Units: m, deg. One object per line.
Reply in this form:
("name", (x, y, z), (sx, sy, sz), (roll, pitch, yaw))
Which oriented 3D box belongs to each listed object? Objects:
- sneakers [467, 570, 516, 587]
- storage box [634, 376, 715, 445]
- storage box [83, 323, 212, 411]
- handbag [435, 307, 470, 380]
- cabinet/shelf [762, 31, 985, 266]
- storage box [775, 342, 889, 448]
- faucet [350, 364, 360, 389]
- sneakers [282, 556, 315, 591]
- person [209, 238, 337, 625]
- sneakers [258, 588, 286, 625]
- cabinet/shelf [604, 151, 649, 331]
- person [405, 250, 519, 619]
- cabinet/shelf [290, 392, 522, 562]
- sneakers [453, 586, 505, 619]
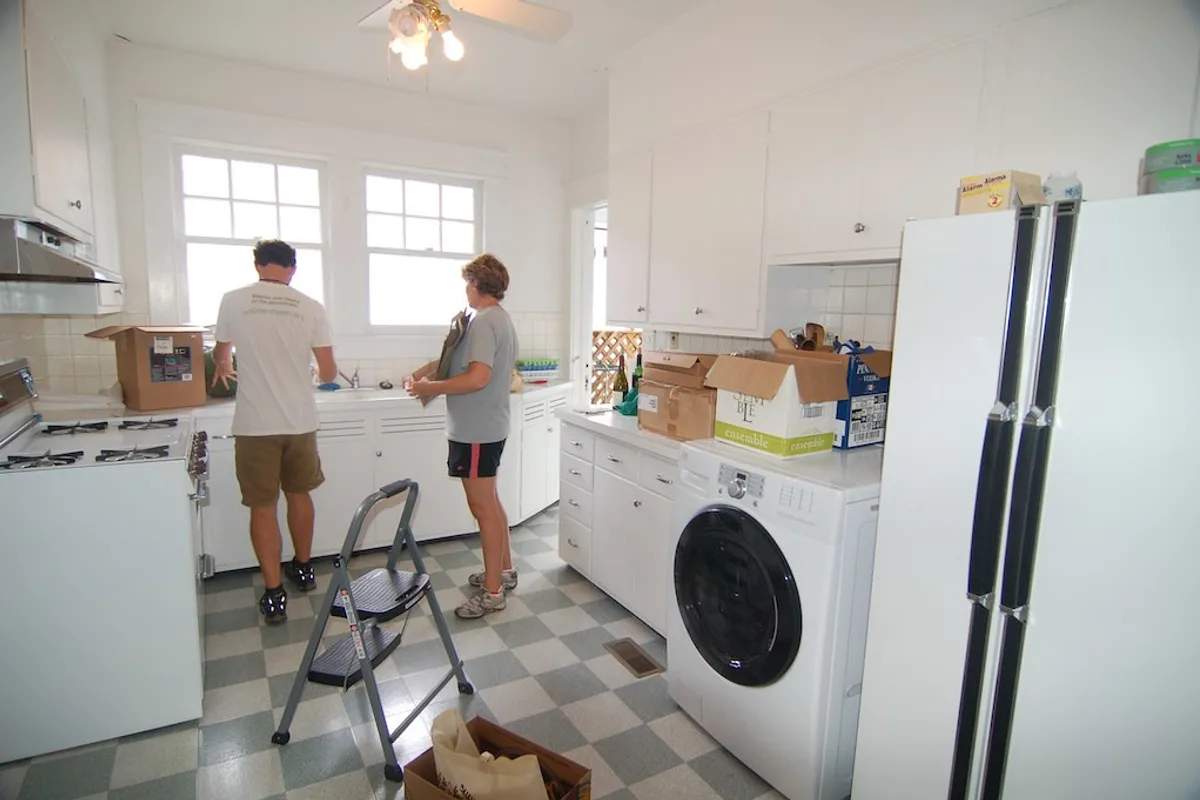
("sneakers", (-0.614, 1.025, 4.545), (0.286, 0.128, 0.103), (4, -3, -21))
("storage box", (0.404, -0.026, 3.956), (0.274, 0.221, 0.425), (-11, 17, -37))
("storage box", (-2.465, -0.225, 4.345), (0.518, 0.396, 0.493), (8, 11, 40))
("handbag", (-0.772, -0.293, 4.131), (0.090, 0.340, 0.219), (12, 28, -16))
("cabinet/shelf", (1.226, -1.107, 3.444), (0.475, 1.014, 1.223), (-3, 8, -38))
("storage box", (1.033, -0.089, 3.740), (0.419, 0.460, 0.652), (-5, 9, -23))
("faucet", (-1.667, -0.156, 5.385), (0.060, 0.137, 0.142), (-1, 10, -8))
("sneakers", (-1.704, 0.969, 4.485), (0.101, 0.125, 0.275), (-3, 15, -29))
("person", (-1.691, 0.142, 4.227), (0.521, 1.954, 0.515), (-7, 12, -39))
("sneakers", (-1.679, 1.067, 4.094), (0.094, 0.097, 0.217), (0, 15, -24))
("cabinet/shelf", (0.168, -0.975, 4.801), (0.122, 1.025, 0.473), (-4, 11, -27))
("person", (-0.725, 0.185, 4.230), (0.554, 1.898, 0.452), (-1, 10, -6))
("cabinet/shelf", (-1.252, 0.370, 5.085), (1.455, 1.098, 0.833), (-1, 1, -31))
("sneakers", (-0.640, 1.094, 4.263), (0.268, 0.113, 0.113), (2, -1, -38))
